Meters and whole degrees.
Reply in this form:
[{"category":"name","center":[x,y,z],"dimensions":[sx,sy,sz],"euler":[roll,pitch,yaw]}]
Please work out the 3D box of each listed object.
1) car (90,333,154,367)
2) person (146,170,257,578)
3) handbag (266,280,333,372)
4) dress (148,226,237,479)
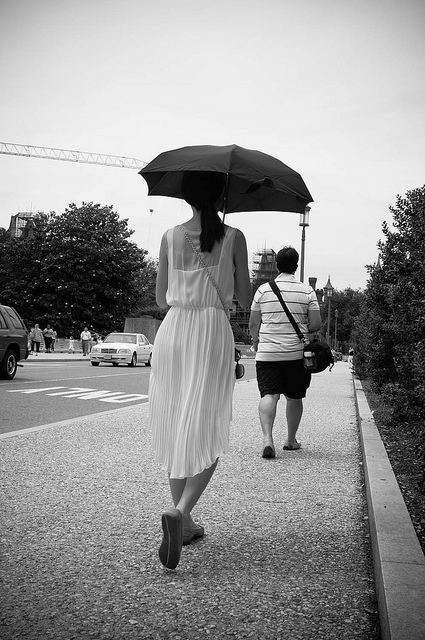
[{"category":"car","center":[-4.999,1.723,25.777],"dimensions":[2.882,1.742,2.479],"euler":[2,5,-2]},{"category":"person","center":[-0.119,0.058,2.492],"dimensions":[0.485,1.721,0.592],"euler":[5,5,41]},{"category":"handbag","center":[1.038,0.079,5.205],"dimensions":[0.466,1.220,0.468],"euler":[-21,-15,35]},{"category":"dress","center":[-0.107,0.147,2.393],"dimensions":[0.464,1.242,0.388],"euler":[2,4,2]}]
